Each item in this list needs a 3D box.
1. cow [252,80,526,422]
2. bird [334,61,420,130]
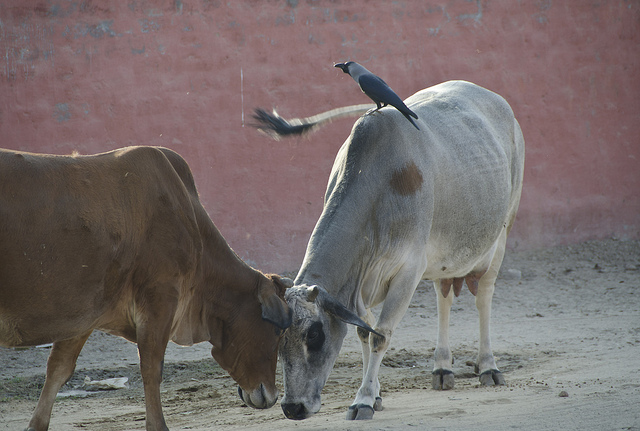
[{"bbox_3d":[1.131,0.441,16.633,1.334,3.671,4.248,6,15,36],"label":"cow"},{"bbox_3d":[0.706,-1.570,17.114,1.509,0.715,0.407,17,24,16],"label":"bird"}]
